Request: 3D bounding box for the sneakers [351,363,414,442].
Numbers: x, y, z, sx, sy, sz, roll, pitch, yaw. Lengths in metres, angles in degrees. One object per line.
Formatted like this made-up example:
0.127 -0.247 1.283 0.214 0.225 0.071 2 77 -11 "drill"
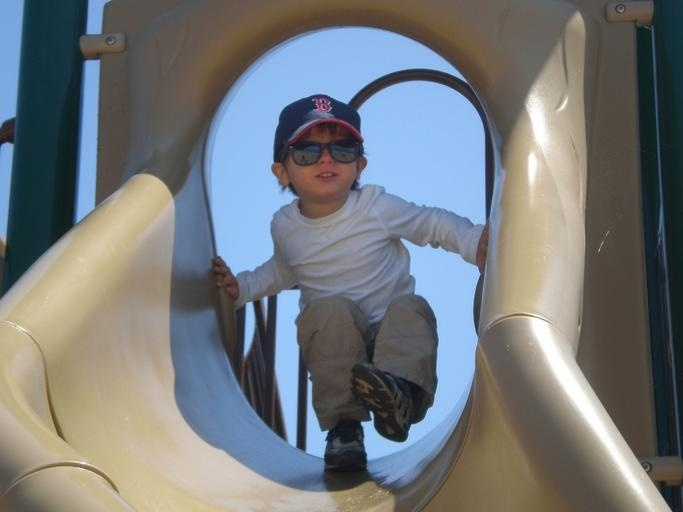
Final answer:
0.119 0.398 2.836 0.104 0.286 0.126 -9 24 33 "sneakers"
